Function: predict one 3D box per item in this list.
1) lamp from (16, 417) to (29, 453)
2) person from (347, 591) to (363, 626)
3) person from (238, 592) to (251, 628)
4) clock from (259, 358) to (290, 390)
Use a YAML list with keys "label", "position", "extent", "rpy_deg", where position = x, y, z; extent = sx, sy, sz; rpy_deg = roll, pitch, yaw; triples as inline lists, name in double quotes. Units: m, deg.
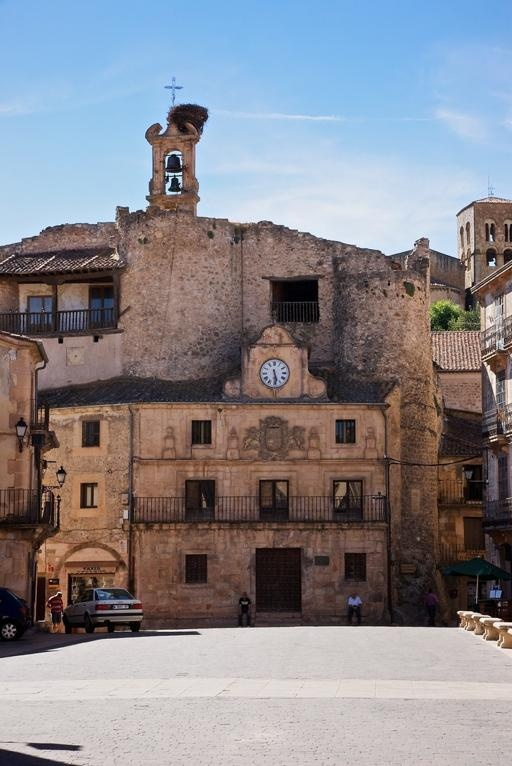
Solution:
- label: "lamp"
  position: [-6.069, 1.307, 33.639]
  extent: [0.297, 0.930, 1.547]
  rpy_deg: [1, -9, -11]
- label: "person"
  position: [3.040, 7.100, 40.131]
  extent: [0.445, 0.922, 1.471]
  rpy_deg: [-1, -8, 4]
- label: "person"
  position: [-0.356, 7.125, 40.361]
  extent: [0.403, 1.004, 1.229]
  rpy_deg: [0, -8, -1]
- label: "clock"
  position: [0.606, -0.242, 43.756]
  extent: [0.908, 1.002, 0.113]
  rpy_deg: [-5, -19, -11]
